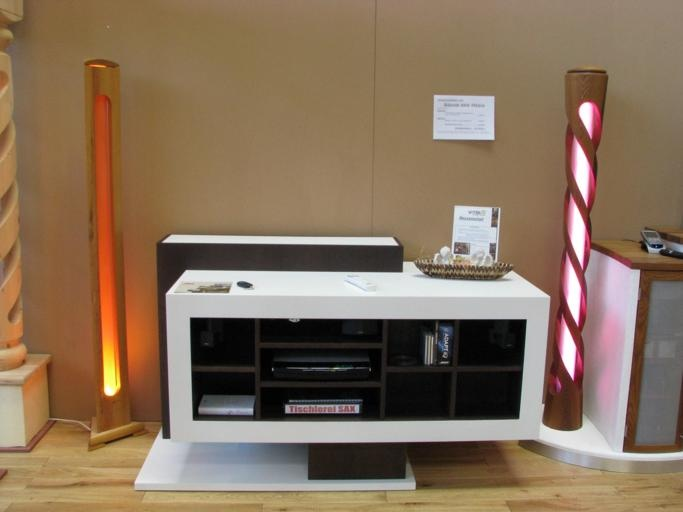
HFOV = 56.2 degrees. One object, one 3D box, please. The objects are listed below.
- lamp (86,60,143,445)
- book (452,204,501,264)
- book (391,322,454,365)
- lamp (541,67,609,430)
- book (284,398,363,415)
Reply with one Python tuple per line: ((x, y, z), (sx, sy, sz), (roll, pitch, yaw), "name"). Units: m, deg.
((-1.300, 0.025, 3.612), (0.287, 2.144, 0.308), (-1, 2, -19), "lamp")
((0.776, -0.124, 3.719), (0.313, 0.439, 0.048), (1, 2, 2), "book")
((0.445, 0.466, 3.477), (0.257, 0.101, 0.248), (0, 7, 1), "book")
((1.350, 0.019, 3.718), (0.195, 2.081, 0.203), (1, 9, -1), "lamp")
((-0.097, 0.787, 3.343), (0.395, 0.091, 0.025), (-1, 1, -3), "book")
